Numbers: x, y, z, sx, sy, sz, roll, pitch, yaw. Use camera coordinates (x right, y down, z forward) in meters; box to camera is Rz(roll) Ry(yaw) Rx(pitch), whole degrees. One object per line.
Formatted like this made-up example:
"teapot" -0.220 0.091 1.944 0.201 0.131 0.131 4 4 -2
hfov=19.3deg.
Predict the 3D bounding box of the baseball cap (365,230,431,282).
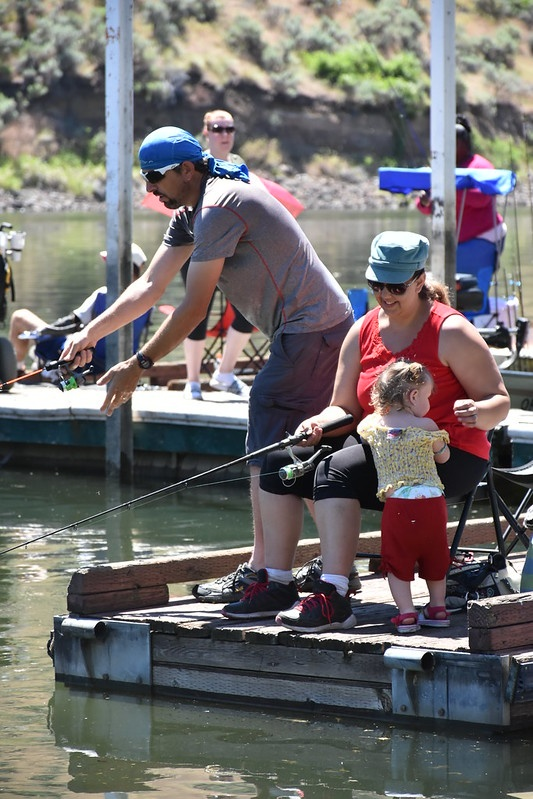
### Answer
"baseball cap" 0.407 -0.433 4.779 0.142 0.092 0.185 8 22 27

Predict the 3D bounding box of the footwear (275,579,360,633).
"footwear" 0.164 0.638 4.739 0.290 0.167 0.105 2 4 -18

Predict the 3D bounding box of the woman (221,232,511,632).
"woman" 0.304 0.101 4.833 0.917 1.133 0.760 -3 5 -11

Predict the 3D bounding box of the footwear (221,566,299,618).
"footwear" -0.011 0.623 5.038 0.300 0.167 0.105 -4 7 3

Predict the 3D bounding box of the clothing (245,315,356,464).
"clothing" 0.077 -0.043 5.066 0.183 0.660 0.202 17 19 -14

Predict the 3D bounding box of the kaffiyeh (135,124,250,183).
"kaffiyeh" -0.234 -0.745 4.925 0.277 0.130 0.186 2 -1 -17

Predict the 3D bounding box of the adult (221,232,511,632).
"adult" 0.317 0.107 4.838 0.893 1.110 0.749 -4 5 -15
